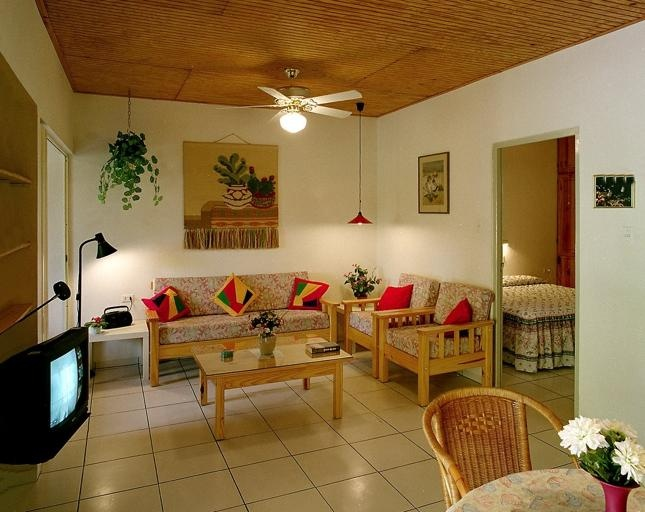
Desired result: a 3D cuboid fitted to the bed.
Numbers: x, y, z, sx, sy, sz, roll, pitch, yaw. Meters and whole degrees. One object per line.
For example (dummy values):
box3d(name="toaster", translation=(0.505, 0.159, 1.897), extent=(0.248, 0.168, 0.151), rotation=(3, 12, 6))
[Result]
box3d(name="bed", translation=(2.505, 0.854, 5.235), extent=(0.767, 0.760, 1.118), rotation=(3, 7, 25))

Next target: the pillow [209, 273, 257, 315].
box3d(name="pillow", translation=(-1.053, 0.493, 5.294), extent=(0.416, 0.428, 0.128), rotation=(-50, 6, -18))

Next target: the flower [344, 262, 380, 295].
box3d(name="flower", translation=(0.546, 0.341, 6.162), extent=(0.486, 0.516, 0.404), rotation=(0, 2, -29))

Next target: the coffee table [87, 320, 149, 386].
box3d(name="coffee table", translation=(-2.206, 0.984, 4.840), extent=(0.616, 0.630, 0.646), rotation=(0, -2, -26))

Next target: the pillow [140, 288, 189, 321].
box3d(name="pillow", translation=(-1.755, 0.542, 5.058), extent=(0.275, 0.350, 0.463), rotation=(5, 8, 39))

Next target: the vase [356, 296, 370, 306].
box3d(name="vase", translation=(0.498, 0.571, 5.632), extent=(0.118, 0.133, 0.122), rotation=(0, 0, -2))

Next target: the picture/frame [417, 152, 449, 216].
box3d(name="picture/frame", translation=(1.287, -0.831, 5.222), extent=(0.057, 0.684, 0.570), rotation=(-3, 7, -23))

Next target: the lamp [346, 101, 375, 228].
box3d(name="lamp", translation=(0.481, -1.145, 5.831), extent=(0.259, 1.502, 0.788), rotation=(0, 6, 5))

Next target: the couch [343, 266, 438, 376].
box3d(name="couch", translation=(0.684, 0.643, 5.422), extent=(1.003, 1.290, 1.118), rotation=(-1, 3, -21))

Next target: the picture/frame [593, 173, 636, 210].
box3d(name="picture/frame", translation=(2.250, -0.490, 3.426), extent=(0.103, 0.281, 0.289), rotation=(0, 0, -35))

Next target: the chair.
box3d(name="chair", translation=(0.683, 0.860, 1.979), extent=(0.599, 0.420, 0.383), rotation=(-4, 7, -30))

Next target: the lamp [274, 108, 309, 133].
box3d(name="lamp", translation=(-0.289, -1.218, 4.055), extent=(0.208, 0.179, 0.261), rotation=(-2, 6, -13))
